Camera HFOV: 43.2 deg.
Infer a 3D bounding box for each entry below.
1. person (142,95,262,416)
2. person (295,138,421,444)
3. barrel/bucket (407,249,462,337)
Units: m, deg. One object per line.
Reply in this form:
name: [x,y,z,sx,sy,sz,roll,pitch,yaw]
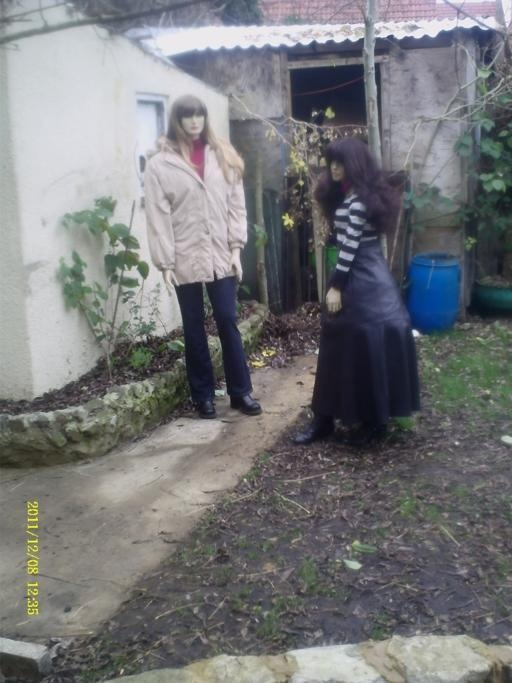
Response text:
person: [-0.303,-0.438,3.766,0.609,1.866,0.274,-8,10,-14]
person: [0.506,-0.235,3.351,0.611,1.586,0.432,-3,10,12]
barrel/bucket: [1.651,-0.461,5.969,0.448,0.674,0.457,-2,18,0]
